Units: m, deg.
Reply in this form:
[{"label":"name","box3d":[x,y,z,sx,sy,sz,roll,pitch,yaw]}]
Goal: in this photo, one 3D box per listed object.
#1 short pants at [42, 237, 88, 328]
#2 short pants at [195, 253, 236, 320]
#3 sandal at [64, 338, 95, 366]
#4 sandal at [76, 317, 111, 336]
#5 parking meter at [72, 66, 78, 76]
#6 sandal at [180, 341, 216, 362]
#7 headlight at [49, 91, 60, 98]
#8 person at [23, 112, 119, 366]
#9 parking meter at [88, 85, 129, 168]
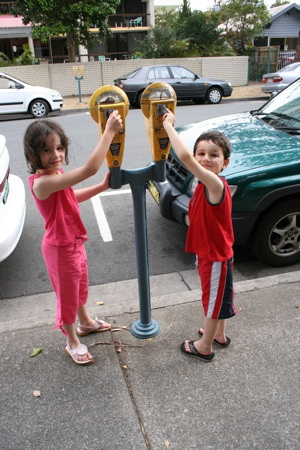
[{"label":"short pants","box3d":[-0.399,0.282,1.757,0.216,0.473,0.193,-12,17,-34]},{"label":"short pants","box3d":[0.276,0.257,1.743,0.312,0.282,0.182,-8,22,-35]},{"label":"sandal","box3d":[-0.362,0.652,1.799,0.069,0.073,0.171,-1,0,-39]},{"label":"sandal","box3d":[-0.328,0.573,2.010,0.149,0.068,0.080,-4,10,-21]},{"label":"parking meter","box3d":[-2.961,-6.161,13.996,0.163,0.341,0.375,-5,15,-10]},{"label":"sandal","box3d":[0.239,0.638,1.783,0.180,0.065,0.070,3,15,21]},{"label":"headlight","box3d":[-3.073,-4.245,11.366,0.206,0.228,0.398,5,16,25]},{"label":"person","box3d":[-0.564,-0.097,2.517,0.422,1.226,2.332,-6,15,-15]},{"label":"parking meter","box3d":[-0.197,-0.493,1.773,0.214,0.440,0.660,-4,15,-7]}]
